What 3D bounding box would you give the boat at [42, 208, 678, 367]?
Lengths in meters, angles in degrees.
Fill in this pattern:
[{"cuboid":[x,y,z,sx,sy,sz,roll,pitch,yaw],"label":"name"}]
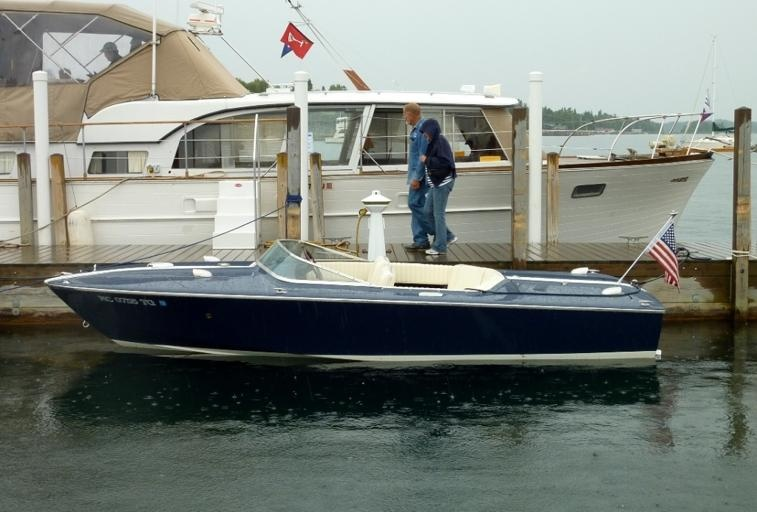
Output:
[{"cuboid":[-1.409,0.416,11.988,9.947,1.439,2.432,1,1,-1],"label":"boat"}]
